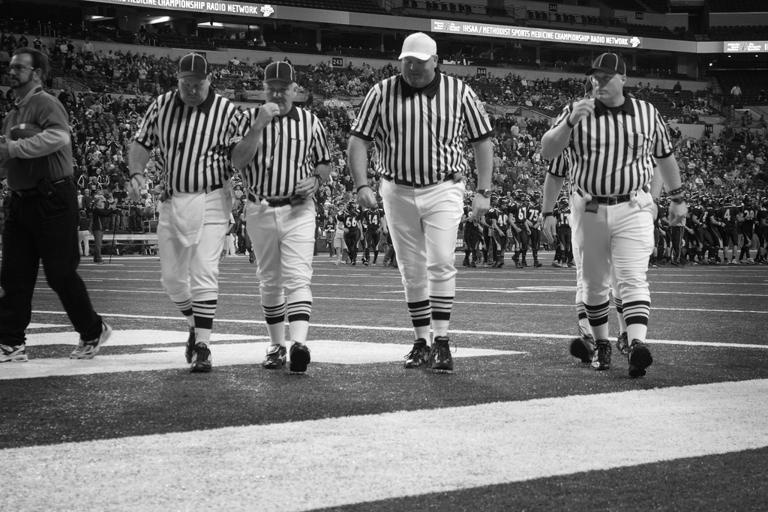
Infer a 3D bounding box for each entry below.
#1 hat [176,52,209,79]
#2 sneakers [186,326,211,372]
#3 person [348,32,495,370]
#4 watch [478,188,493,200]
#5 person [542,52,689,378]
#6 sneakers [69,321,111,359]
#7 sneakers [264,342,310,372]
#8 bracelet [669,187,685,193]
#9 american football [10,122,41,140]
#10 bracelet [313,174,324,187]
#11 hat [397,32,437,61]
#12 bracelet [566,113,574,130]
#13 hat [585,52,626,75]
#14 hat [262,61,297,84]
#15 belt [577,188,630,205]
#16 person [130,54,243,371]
[{"bbox_3d":[-1.486,-1.491,6.675,0.226,0.202,0.337,-2,7,-10],"label":"hat"},{"bbox_3d":[-1.412,0.753,6.615,0.147,0.197,0.433,-1,-1,-18],"label":"sneakers"},{"bbox_3d":[0.280,-0.458,6.780,1.119,2.635,0.713,0,6,6],"label":"person"},{"bbox_3d":[0.788,-0.498,6.804,0.083,0.051,0.087,2,-1,35],"label":"watch"},{"bbox_3d":[1.906,-0.359,6.875,1.096,2.550,1.086,-4,7,-32],"label":"person"},{"bbox_3d":[-2.433,0.701,7.115,0.109,0.271,0.132,30,-12,16],"label":"sneakers"},{"bbox_3d":[-0.736,0.756,6.542,0.461,0.210,0.189,-3,43,26],"label":"sneakers"},{"bbox_3d":[2.422,-0.549,7.085,0.076,0.036,0.076,-12,3,-21],"label":"bracelet"},{"bbox_3d":[-2.825,-0.992,6.731,0.240,0.132,0.132,-1,6,-5],"label":"american football"},{"bbox_3d":[-0.540,-0.615,6.961,0.100,0.053,0.073,34,16,32],"label":"bracelet"},{"bbox_3d":[0.271,-1.651,6.712,0.253,0.250,0.413,0,7,6],"label":"hat"},{"bbox_3d":[1.436,-1.041,6.647,0.031,0.082,0.069,-21,-46,27],"label":"bracelet"},{"bbox_3d":[1.754,-1.510,6.727,0.278,0.155,0.204,1,8,-30],"label":"hat"},{"bbox_3d":[-0.821,-1.477,6.834,0.168,0.122,0.224,3,12,1],"label":"hat"},{"bbox_3d":[1.752,-0.452,6.723,0.347,0.093,0.037,1,6,13],"label":"belt"},{"bbox_3d":[-1.588,-0.382,6.784,0.780,2.397,0.759,1,6,14],"label":"person"}]
